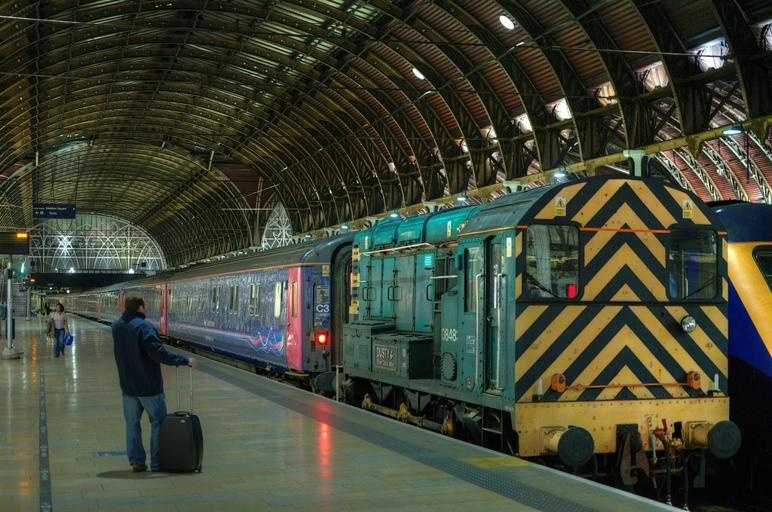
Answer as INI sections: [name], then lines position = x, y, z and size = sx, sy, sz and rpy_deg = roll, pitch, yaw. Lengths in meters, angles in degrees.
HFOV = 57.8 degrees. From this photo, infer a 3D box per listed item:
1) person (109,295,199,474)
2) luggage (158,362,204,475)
[person]
position = -3.557, 1.950, 10.939
size = 1.282, 2.644, 1.003
rpy_deg = -7, -6, 31
[luggage]
position = -3.130, 2.844, 10.609
size = 0.635, 0.942, 0.316
rpy_deg = 0, 0, -13
